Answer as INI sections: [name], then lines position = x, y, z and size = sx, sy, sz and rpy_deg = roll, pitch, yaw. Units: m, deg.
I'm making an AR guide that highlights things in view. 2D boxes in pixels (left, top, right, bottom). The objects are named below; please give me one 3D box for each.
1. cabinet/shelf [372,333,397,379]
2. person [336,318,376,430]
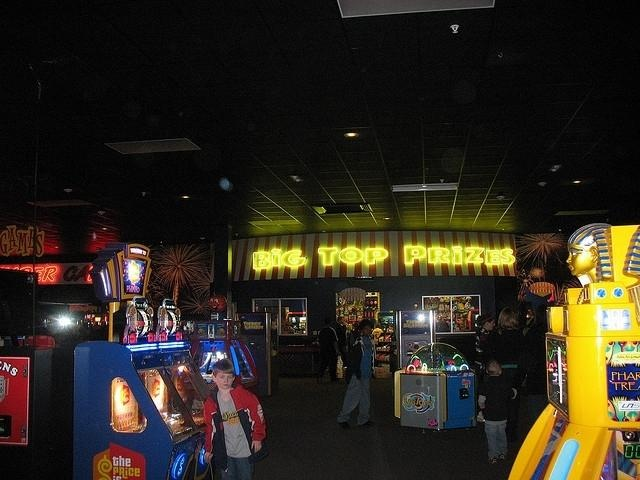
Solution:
[cabinet/shelf]
position = 1.795, 3.249, 13.652
size = 0.533, 1.251, 1.387
rpy_deg = -1, -8, 3
[person]
position = 0.599, 2.139, 7.790
size = 0.479, 1.695, 0.569
rpy_deg = -7, -10, 39
